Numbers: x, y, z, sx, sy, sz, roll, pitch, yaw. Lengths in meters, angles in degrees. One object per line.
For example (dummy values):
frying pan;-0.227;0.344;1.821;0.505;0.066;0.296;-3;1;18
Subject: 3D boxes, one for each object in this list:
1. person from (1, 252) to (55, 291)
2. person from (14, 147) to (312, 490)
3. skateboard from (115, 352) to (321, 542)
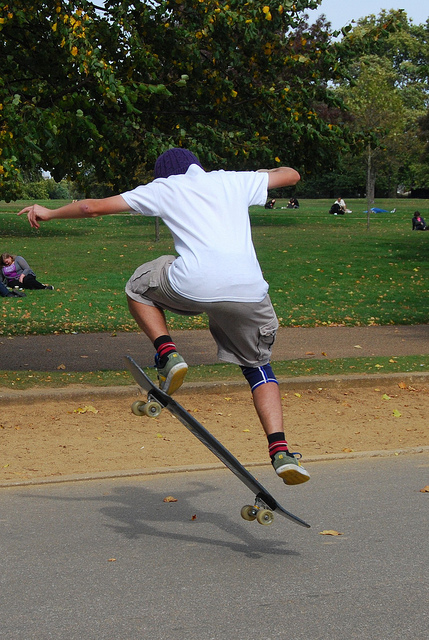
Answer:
person;-4.952;-1.259;18.138;1.718;0.658;0.943;26;17;30
person;-0.085;-0.052;3.524;1.144;1.760;0.517;0;2;6
skateboard;0.006;0.954;5.028;0.230;1.349;0.279;-50;9;-16
